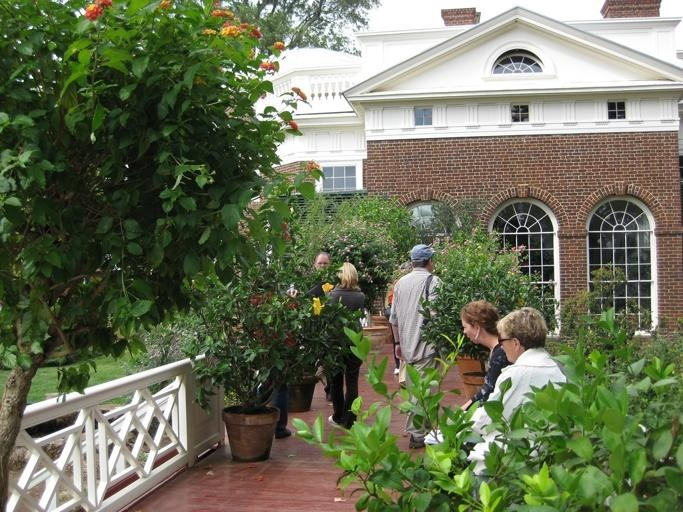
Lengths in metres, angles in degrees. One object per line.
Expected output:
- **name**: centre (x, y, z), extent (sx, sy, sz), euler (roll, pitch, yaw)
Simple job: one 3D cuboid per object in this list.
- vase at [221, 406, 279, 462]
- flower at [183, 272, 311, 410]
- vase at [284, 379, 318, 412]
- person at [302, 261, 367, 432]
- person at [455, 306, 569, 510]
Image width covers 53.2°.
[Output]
- **vase**: centre (-0.816, 1.614, 6.251), extent (0.537, 0.447, 0.548), euler (1, -1, -8)
- **flower**: centre (-0.823, 0.762, 6.437), extent (1.185, 1.333, 1.053), euler (0, 13, -42)
- **vase**: centre (-0.467, 1.626, 8.293), extent (0.500, 0.432, 0.533), euler (0, -7, 0)
- **person**: centre (0.054, 0.948, 7.129), extent (0.409, 1.585, 1.449), euler (-3, 0, 1)
- **person**: centre (1.160, 0.843, 5.059), extent (0.598, 1.072, 0.591), euler (-13, -4, 19)
